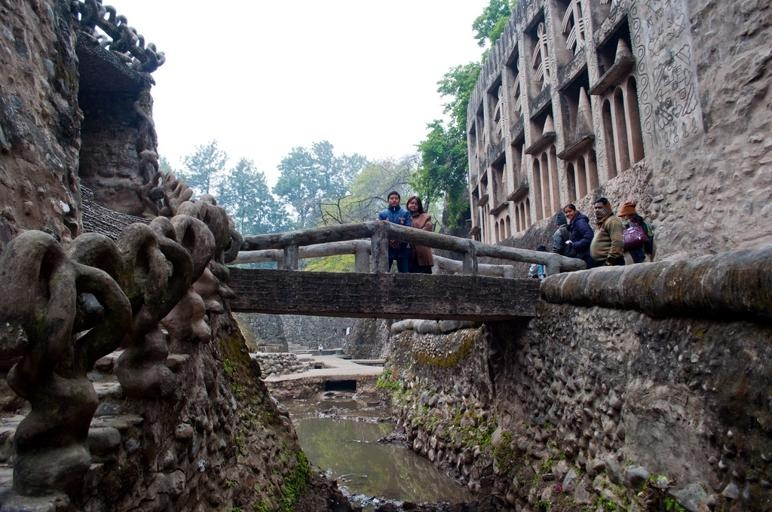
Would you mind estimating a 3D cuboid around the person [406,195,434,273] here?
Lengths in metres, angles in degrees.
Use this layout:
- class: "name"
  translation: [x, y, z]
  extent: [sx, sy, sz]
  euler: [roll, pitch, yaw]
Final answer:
- class: "person"
  translation: [0.494, -0.323, 8.041]
  extent: [0.368, 1.144, 0.796]
  euler: [1, -3, 2]

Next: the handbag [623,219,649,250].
- class: "handbag"
  translation: [3.172, -0.266, 7.088]
  extent: [0.287, 0.341, 0.180]
  euler: [-8, -10, -13]
